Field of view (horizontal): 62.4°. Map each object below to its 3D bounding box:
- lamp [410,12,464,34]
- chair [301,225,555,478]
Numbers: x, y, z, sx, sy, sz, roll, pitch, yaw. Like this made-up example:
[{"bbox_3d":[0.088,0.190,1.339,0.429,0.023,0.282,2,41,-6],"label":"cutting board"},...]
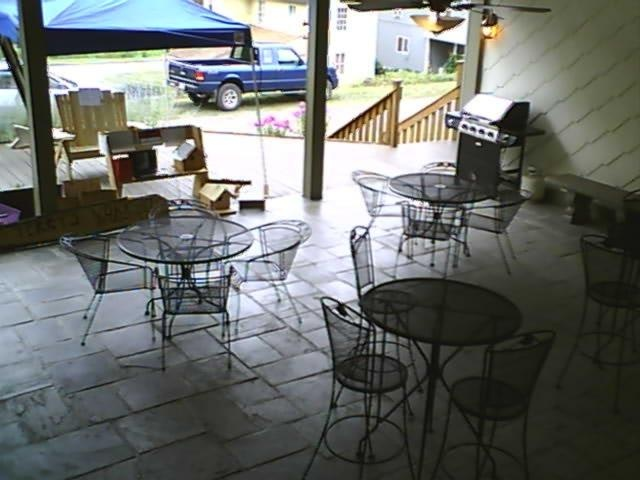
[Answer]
[{"bbox_3d":[1.179,-2.192,5.346,0.354,0.136,0.357,14,24,33],"label":"lamp"},{"bbox_3d":[0.785,0.921,3.872,1.529,1.205,1.422,3,23,13],"label":"chair"}]
